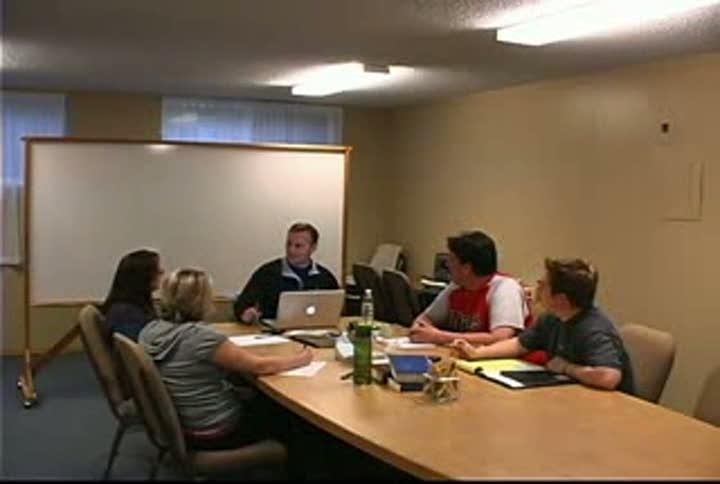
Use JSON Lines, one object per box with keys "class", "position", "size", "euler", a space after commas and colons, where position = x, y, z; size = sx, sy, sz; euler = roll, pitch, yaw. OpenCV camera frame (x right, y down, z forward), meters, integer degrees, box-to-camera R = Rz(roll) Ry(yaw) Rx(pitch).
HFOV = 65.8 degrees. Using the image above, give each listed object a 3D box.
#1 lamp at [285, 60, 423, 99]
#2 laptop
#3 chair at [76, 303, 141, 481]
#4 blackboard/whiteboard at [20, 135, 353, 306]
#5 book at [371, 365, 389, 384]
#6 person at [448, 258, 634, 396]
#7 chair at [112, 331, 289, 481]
{"class": "lamp", "position": [-0.024, -0.517, 1.790], "size": [0.396, 0.106, 0.099], "euler": [-1, 15, -7]}
{"class": "laptop", "position": [-0.209, 0.280, 2.364], "size": [0.268, 0.175, 0.211], "euler": [0, 24, -12]}
{"class": "chair", "position": [-0.784, 0.454, 1.754], "size": [0.137, 0.495, 0.251], "euler": [-8, 17, -28]}
{"class": "blackboard/whiteboard", "position": [-0.542, -0.061, 1.868], "size": [1.024, 0.556, 0.119], "euler": [-5, 16, -22]}
{"class": "book", "position": [0.071, 0.456, 1.927], "size": [0.061, 0.026, 0.058], "euler": [-3, 10, -27]}
{"class": "person", "position": [0.646, 0.282, 2.246], "size": [0.528, 0.788, 0.497], "euler": [0, 0, -6]}
{"class": "chair", "position": [-0.557, 0.577, 2.043], "size": [0.624, 0.496, 0.388], "euler": [-2, -1, -23]}
